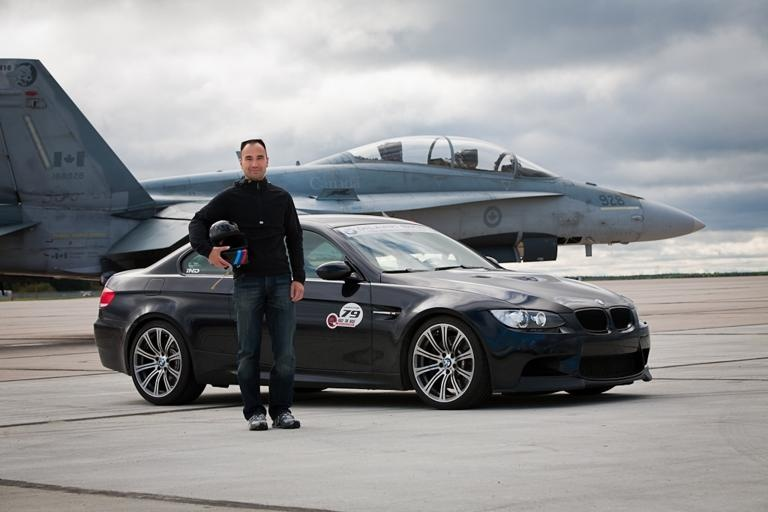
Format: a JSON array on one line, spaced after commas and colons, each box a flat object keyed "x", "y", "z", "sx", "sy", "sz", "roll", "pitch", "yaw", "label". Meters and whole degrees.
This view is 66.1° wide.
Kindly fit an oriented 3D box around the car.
[{"x": -0.332, "y": 0.573, "z": 7.413, "sx": 6.657, "sy": 1.501, "sz": 2.624, "roll": -2, "pitch": -2, "yaw": 18, "label": "car"}]

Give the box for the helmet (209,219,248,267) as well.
[{"x": -1.515, "y": -0.124, "z": 5.544, "sx": 0.462, "sy": 0.360, "sz": 0.338, "roll": 7, "pitch": 7, "yaw": 29, "label": "helmet"}]

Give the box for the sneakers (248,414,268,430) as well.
[{"x": -1.179, "y": 1.549, "z": 5.495, "sx": 0.162, "sy": 0.125, "sz": 0.175, "roll": -4, "pitch": 3, "yaw": -15, "label": "sneakers"}]

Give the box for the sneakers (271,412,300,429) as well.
[{"x": -0.932, "y": 1.558, "z": 5.570, "sx": 0.124, "sy": 0.104, "sz": 0.298, "roll": 6, "pitch": -10, "yaw": -43, "label": "sneakers"}]
